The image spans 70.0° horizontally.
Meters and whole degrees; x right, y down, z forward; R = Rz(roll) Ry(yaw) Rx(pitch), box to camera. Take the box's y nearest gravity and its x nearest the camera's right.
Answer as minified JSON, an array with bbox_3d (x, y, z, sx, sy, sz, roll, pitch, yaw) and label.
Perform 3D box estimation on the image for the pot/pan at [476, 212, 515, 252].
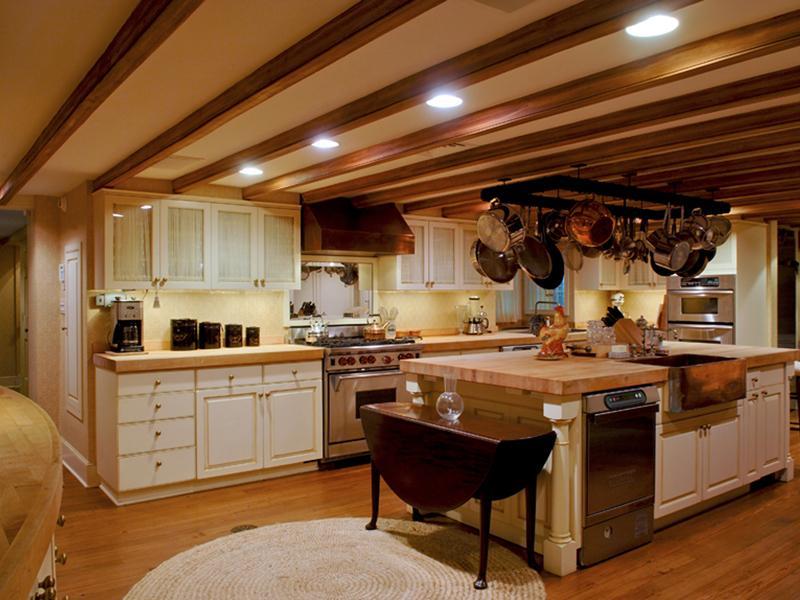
[{"bbox_3d":[0.719,-0.505,4.331,0.283,0.291,0.140,1,4,23],"label":"pot/pan"}]

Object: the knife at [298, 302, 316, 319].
[{"bbox_3d":[-0.993,0.115,6.241,0.161,0.156,0.058,7,3,-31],"label":"knife"}]

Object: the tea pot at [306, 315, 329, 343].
[{"bbox_3d":[-0.891,0.322,6.217,0.202,0.271,0.290,-3,-6,23],"label":"tea pot"}]

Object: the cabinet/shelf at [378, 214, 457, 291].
[{"bbox_3d":[0.177,-0.541,6.687,0.951,0.796,0.361,2,-4,-37],"label":"cabinet/shelf"}]

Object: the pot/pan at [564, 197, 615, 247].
[{"bbox_3d":[1.467,-0.593,4.416,0.348,0.363,0.159,0,4,9],"label":"pot/pan"}]

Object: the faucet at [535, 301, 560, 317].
[{"bbox_3d":[2.124,0.130,8.179,0.249,0.183,0.251,-1,-1,25],"label":"faucet"}]

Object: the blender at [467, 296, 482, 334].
[{"bbox_3d":[1.002,0.194,7.471,0.206,0.473,0.366,0,4,6],"label":"blender"}]

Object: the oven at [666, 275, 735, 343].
[{"bbox_3d":[4.128,0.120,7.878,0.777,0.990,0.669,1,13,28],"label":"oven"}]

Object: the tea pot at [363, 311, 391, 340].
[{"bbox_3d":[-0.205,0.313,6.521,0.228,0.368,0.372,3,-3,-35],"label":"tea pot"}]

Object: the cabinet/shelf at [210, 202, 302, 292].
[{"bbox_3d":[-1.464,-0.530,5.694,0.929,0.777,0.380,2,-5,-35],"label":"cabinet/shelf"}]

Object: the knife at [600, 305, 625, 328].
[{"bbox_3d":[2.386,0.190,6.429,0.050,0.190,0.142,-9,18,-32],"label":"knife"}]

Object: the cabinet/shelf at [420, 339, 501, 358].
[{"bbox_3d":[0.685,0.544,6.531,1.236,0.201,0.145,-3,5,-37],"label":"cabinet/shelf"}]

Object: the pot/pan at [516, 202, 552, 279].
[{"bbox_3d":[1.032,-0.362,4.413,0.283,0.405,0.064,-3,1,-43],"label":"pot/pan"}]

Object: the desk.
[{"bbox_3d":[0.329,1.270,3.944,0.564,0.884,1.487,3,-3,-38],"label":"desk"}]

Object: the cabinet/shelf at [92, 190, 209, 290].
[{"bbox_3d":[-2.310,-0.542,5.202,0.958,0.880,0.366,0,-4,-35],"label":"cabinet/shelf"}]

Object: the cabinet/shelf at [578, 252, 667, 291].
[{"bbox_3d":[3.238,-0.328,8.386,0.857,0.353,0.852,6,-10,-37],"label":"cabinet/shelf"}]

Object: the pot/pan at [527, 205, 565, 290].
[{"bbox_3d":[1.204,-0.406,4.554,0.088,0.587,0.387,-11,-15,24],"label":"pot/pan"}]

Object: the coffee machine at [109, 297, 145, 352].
[{"bbox_3d":[-2.442,0.236,5.116,0.276,0.462,0.197,-2,4,-22],"label":"coffee machine"}]

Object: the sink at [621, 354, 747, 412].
[{"bbox_3d":[2.129,0.613,4.357,0.630,0.244,0.453,-1,0,-34],"label":"sink"}]

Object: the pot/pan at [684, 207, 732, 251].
[{"bbox_3d":[2.746,-0.600,5.125,0.411,0.396,0.193,0,3,3],"label":"pot/pan"}]

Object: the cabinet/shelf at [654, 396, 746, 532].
[{"bbox_3d":[2.217,1.233,4.271,1.018,0.809,0.513,1,-4,-34],"label":"cabinet/shelf"}]

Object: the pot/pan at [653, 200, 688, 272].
[{"bbox_3d":[2.404,-0.527,5.059,0.291,0.558,0.284,-1,4,-11],"label":"pot/pan"}]

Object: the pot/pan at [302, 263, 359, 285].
[{"bbox_3d":[-0.729,-0.316,6.394,0.342,0.181,0.338,-2,2,-38],"label":"pot/pan"}]

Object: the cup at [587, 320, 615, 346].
[{"bbox_3d":[1.687,0.287,4.795,0.204,0.195,0.193,-1,4,0],"label":"cup"}]

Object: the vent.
[{"bbox_3d":[-0.521,-0.471,6.153,1.224,0.793,0.614,3,-8,-38],"label":"vent"}]

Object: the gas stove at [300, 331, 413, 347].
[{"bbox_3d":[-0.455,0.427,6.143,1.023,0.074,0.875,-3,5,-37],"label":"gas stove"}]
